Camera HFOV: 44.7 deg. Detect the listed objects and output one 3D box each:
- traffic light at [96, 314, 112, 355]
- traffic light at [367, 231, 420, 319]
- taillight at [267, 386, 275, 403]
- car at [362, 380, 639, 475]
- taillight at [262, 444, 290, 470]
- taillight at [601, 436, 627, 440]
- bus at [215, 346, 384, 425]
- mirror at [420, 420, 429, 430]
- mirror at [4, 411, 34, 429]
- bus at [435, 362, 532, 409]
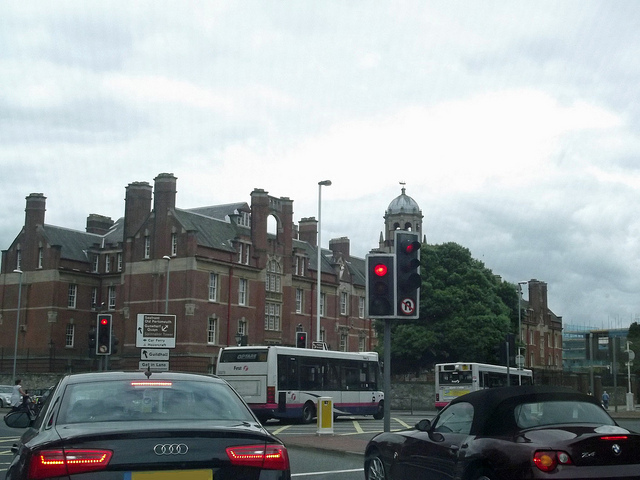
[{"bbox_3d":[-7.742,3.375,27.975,0.513,1.480,0.673,3,-13,-17],"label":"traffic light"},{"bbox_3d":[1.496,0.701,15.336,1.044,1.841,0.612,-2,21,0],"label":"traffic light"},{"bbox_3d":[-1.889,6.153,30.898,0.302,0.610,0.142,3,-13,-17],"label":"taillight"},{"bbox_3d":[2.127,2.388,9.844,1.606,1.070,3.175,6,-12,-26],"label":"car"},{"bbox_3d":[-0.376,1.937,6.937,0.147,0.132,0.271,0,-5,8],"label":"taillight"},{"bbox_3d":[3.321,2.218,8.688,0.326,0.033,0.054,6,-16,-27],"label":"taillight"},{"bbox_3d":[-1.206,6.456,34.188,3.369,3.802,10.710,-7,-11,41],"label":"bus"},{"bbox_3d":[1.413,2.456,10.283,0.094,0.149,0.038,0,9,20],"label":"mirror"},{"bbox_3d":[-3.386,2.021,8.754,0.260,0.185,0.724,5,-15,-23],"label":"mirror"},{"bbox_3d":[10.484,8.977,46.379,2.600,3.108,10.753,-7,-14,32],"label":"bus"}]
